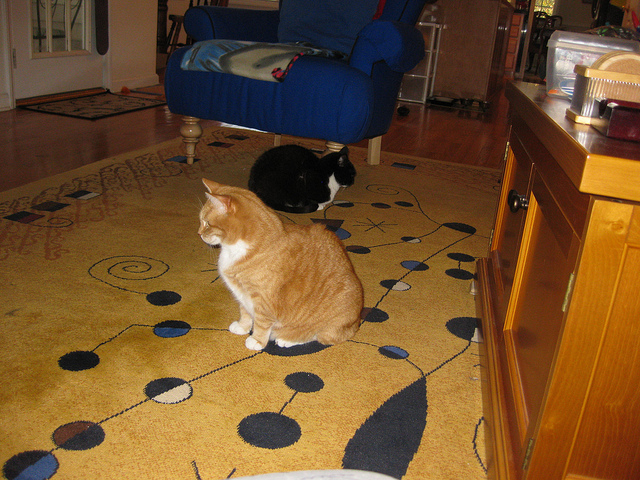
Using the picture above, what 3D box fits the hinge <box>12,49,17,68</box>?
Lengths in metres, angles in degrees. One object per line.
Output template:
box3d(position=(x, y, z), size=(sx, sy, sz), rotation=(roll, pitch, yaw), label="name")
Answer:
box3d(position=(-2.099, -1.232, 3.446), size=(0.020, 0.119, 0.057), rotation=(-8, 28, -27), label="hinge")

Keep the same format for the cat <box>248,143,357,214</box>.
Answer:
box3d(position=(-0.026, -0.279, 2.278), size=(0.530, 0.228, 0.279), rotation=(-7, 40, -18), label="cat")

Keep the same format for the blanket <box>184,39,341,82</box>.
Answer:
box3d(position=(-0.255, -0.873, 2.528), size=(0.647, 0.160, 0.617), rotation=(15, 19, 23), label="blanket")

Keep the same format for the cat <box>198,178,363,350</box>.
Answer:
box3d(position=(-0.128, 0.017, 1.507), size=(0.625, 0.521, 0.340), rotation=(-6, 27, -12), label="cat")
